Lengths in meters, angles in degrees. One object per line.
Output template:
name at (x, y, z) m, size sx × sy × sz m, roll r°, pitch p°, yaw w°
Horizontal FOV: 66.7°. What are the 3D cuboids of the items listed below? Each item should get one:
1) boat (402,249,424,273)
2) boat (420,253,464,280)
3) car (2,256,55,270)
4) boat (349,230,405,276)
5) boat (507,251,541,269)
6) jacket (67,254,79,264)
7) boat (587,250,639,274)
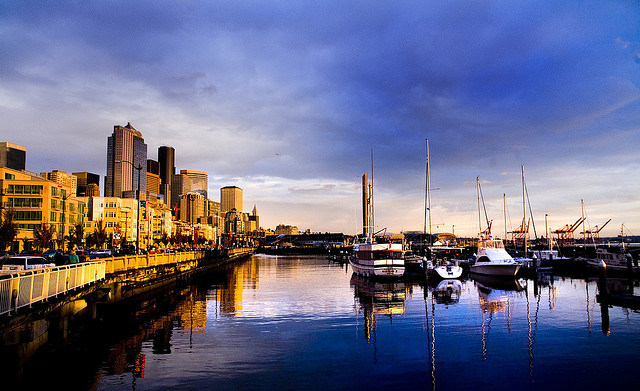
boat at (18.374, 12.892, 91.518) m, size 5.778 × 3.670 × 9.505 m, roll -1°, pitch 1°, yaw 9°
boat at (20.798, 11.117, 79.540) m, size 4.405 × 2.494 × 12.778 m, roll -1°, pitch 1°, yaw 10°
car at (-29.967, 6.896, 49.738) m, size 2.648 × 1.954 × 5.569 m, roll 0°, pitch -1°, yaw -5°
boat at (8.818, 9.330, 81.204) m, size 6.126 × 7.147 × 18.884 m, roll 1°, pitch -7°, yaw -9°
boat at (38.593, 11.988, 91.194) m, size 6.051 × 2.815 × 8.003 m, roll 1°, pitch -1°, yaw 1°
jacket at (-22.479, 5.717, 44.201) m, size 0.762 × 0.802 × 4.438 m, roll 4°, pitch -8°, yaw -26°
boat at (49.960, 11.189, 83.101) m, size 4.069 × 3.490 × 17.222 m, roll -2°, pitch -7°, yaw 14°
